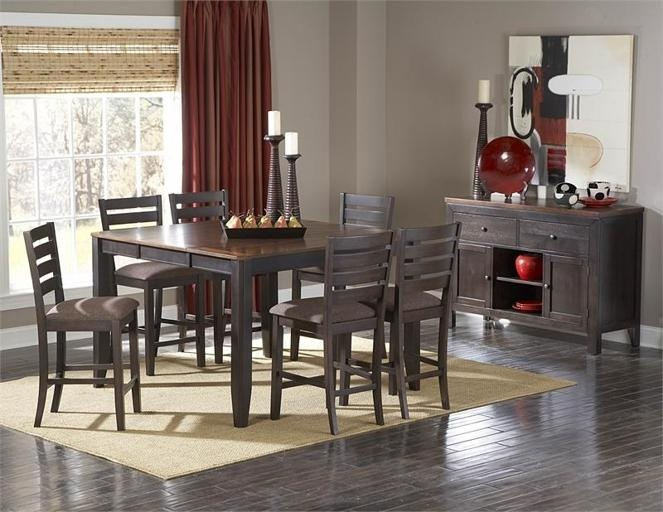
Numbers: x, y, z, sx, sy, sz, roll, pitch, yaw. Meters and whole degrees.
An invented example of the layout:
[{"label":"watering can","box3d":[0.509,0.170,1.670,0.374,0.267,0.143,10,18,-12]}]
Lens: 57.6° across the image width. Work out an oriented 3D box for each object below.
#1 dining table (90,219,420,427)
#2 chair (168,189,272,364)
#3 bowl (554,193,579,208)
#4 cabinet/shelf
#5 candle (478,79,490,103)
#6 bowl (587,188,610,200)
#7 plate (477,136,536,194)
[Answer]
[{"label":"dining table","box3d":[-0.406,0.338,3.838,1.412,0.834,1.432,5,5,42]},{"label":"chair","box3d":[-0.777,0.115,4.586,0.722,1.182,0.674,6,7,23]},{"label":"bowl","box3d":[1.682,-0.419,4.567,0.119,0.065,0.121,-1,2,0]},{"label":"cabinet/shelf","box3d":[1.575,0.137,4.594,0.448,0.846,1.201,-6,8,-39]},{"label":"candle","box3d":[1.252,-1.434,5.263,0.108,0.253,0.279,2,7,13]},{"label":"bowl","box3d":[1.906,-0.464,4.534,0.103,0.068,0.096,-1,4,0]},{"label":"plate","box3d":[1.320,-0.706,4.923,0.476,0.508,0.456,-1,2,-18]}]
